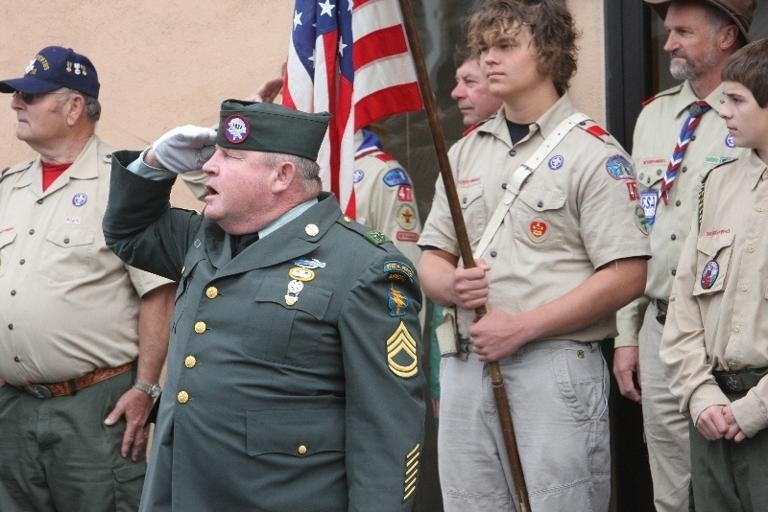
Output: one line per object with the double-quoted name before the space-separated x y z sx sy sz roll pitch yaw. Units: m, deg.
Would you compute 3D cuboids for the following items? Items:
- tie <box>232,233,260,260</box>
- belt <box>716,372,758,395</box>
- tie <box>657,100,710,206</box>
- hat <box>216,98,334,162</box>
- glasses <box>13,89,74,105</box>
"tie" -0.596 -0.052 4.158 0.119 0.108 0.092 1 -4 -2
"belt" 1.564 0.555 4.234 0.126 0.043 0.097 -4 4 -24
"tie" 1.536 -0.573 4.954 0.186 0.611 0.154 27 -16 -6
"hat" -0.468 -0.533 4.080 0.368 0.161 0.286 4 6 -10
"glasses" -2.006 -0.944 5.667 0.211 0.057 0.133 2 2 -13
